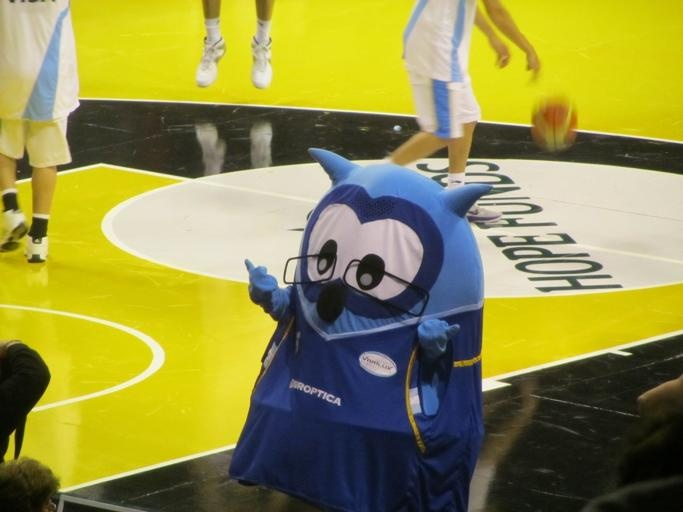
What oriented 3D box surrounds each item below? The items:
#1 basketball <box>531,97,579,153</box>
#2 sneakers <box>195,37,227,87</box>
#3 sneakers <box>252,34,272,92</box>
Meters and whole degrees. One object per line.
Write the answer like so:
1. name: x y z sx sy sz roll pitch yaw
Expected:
1. basketball: 1.400 -0.898 5.350 0.316 0.423 0.379 0 0 16
2. sneakers: -0.935 -1.373 5.811 0.142 0.404 0.161 10 -4 9
3. sneakers: -0.557 -1.376 5.818 0.121 0.362 0.143 -2 14 -1
